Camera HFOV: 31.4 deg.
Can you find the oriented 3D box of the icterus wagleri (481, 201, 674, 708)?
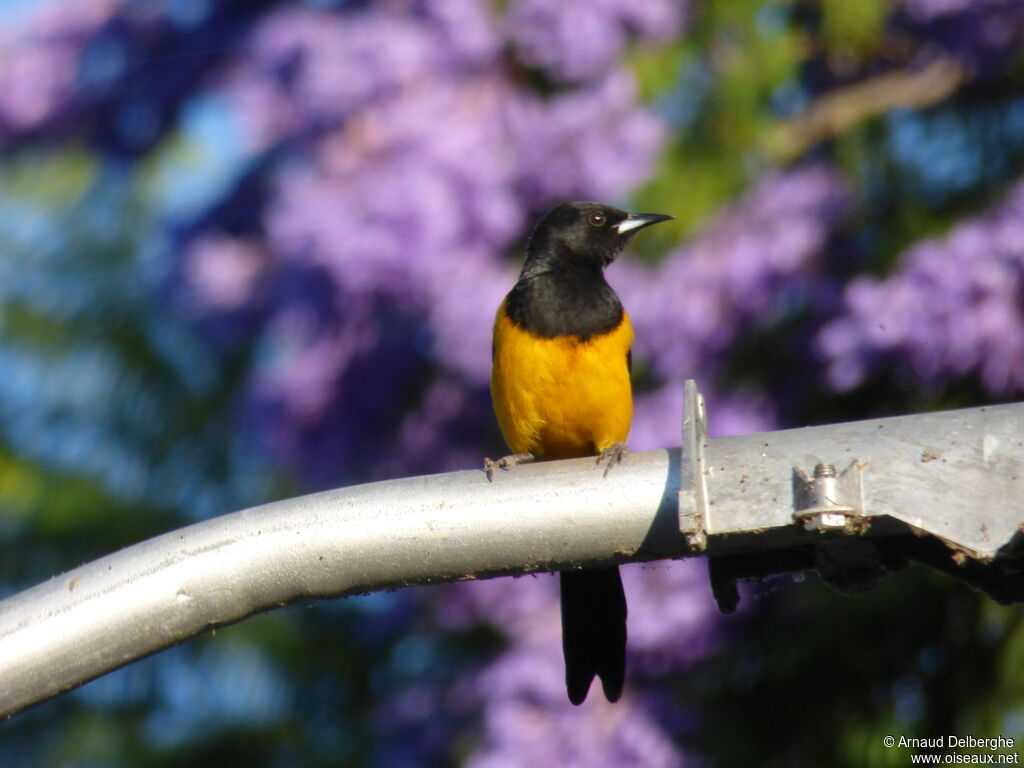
[{"bbox_3d":[0.148,0.200,5.604,0.492,0.698,1.484,6,-62,-2],"label":"icterus wagleri"}]
